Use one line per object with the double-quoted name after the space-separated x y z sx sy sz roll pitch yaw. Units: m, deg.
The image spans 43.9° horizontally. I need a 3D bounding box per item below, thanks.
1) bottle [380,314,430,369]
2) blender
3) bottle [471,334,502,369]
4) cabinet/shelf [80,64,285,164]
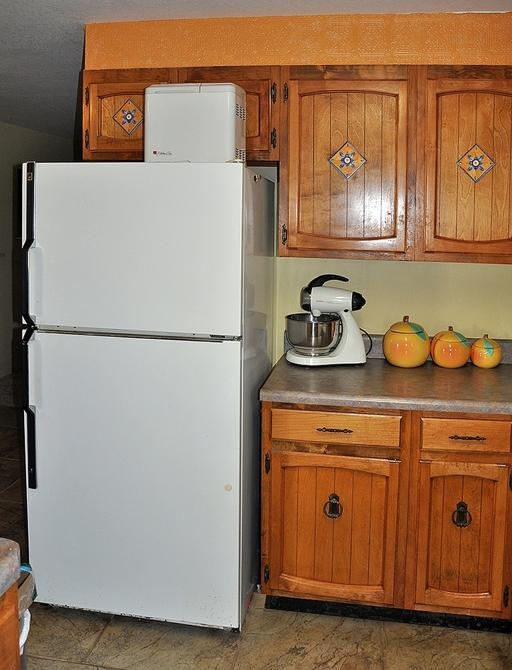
0.607 0.029 2.537 0.183 0.196 0.132 1 6 -6 "bottle"
0.276 -0.068 2.511 0.334 0.360 0.201 0 8 1 "blender"
0.908 0.072 2.571 0.121 0.128 0.122 -2 -4 43 "bottle"
-0.382 -0.940 2.570 0.909 0.437 0.312 5 -4 14 "cabinet/shelf"
